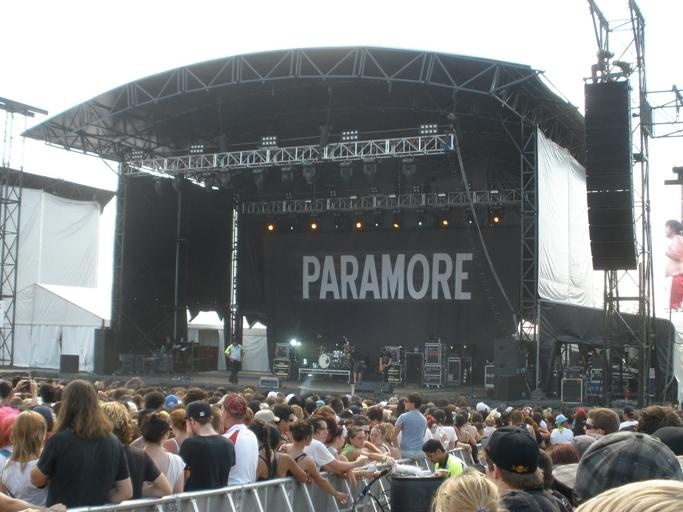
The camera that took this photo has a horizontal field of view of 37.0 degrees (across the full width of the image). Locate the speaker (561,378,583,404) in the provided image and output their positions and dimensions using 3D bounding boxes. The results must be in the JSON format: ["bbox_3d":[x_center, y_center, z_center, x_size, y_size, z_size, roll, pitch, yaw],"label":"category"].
[{"bbox_3d":[6.920,4.037,30.674,0.644,0.708,0.664,-1,-6,13],"label":"speaker"}]

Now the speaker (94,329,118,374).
[{"bbox_3d":[-8.233,3.287,35.650,0.826,1.591,0.584,3,-11,-19],"label":"speaker"}]

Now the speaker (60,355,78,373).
[{"bbox_3d":[-9.448,3.738,35.358,0.610,0.688,0.737,3,-12,-17],"label":"speaker"}]

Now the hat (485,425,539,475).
[{"bbox_3d":[2.608,2.959,15.587,0.783,0.722,0.185,-2,-11,5],"label":"hat"}]

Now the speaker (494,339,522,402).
[{"bbox_3d":[5.065,3.487,30.915,0.580,1.715,1.052,-1,1,13],"label":"speaker"}]
